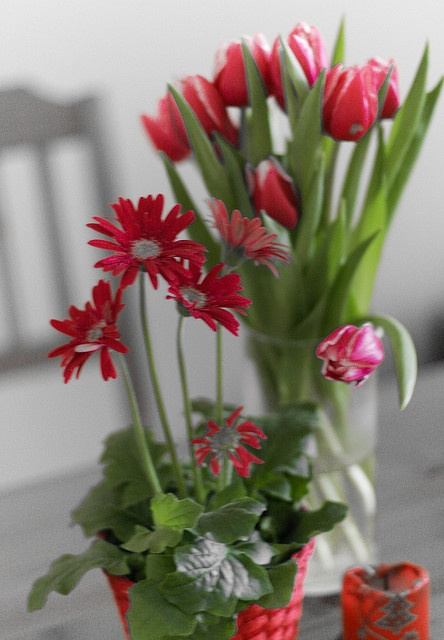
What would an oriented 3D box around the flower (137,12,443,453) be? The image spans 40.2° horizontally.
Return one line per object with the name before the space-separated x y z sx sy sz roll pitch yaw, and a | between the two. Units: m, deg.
flower | 0.037 -0.122 0.612 0.281 0.394 0.285 -29 33 -31
